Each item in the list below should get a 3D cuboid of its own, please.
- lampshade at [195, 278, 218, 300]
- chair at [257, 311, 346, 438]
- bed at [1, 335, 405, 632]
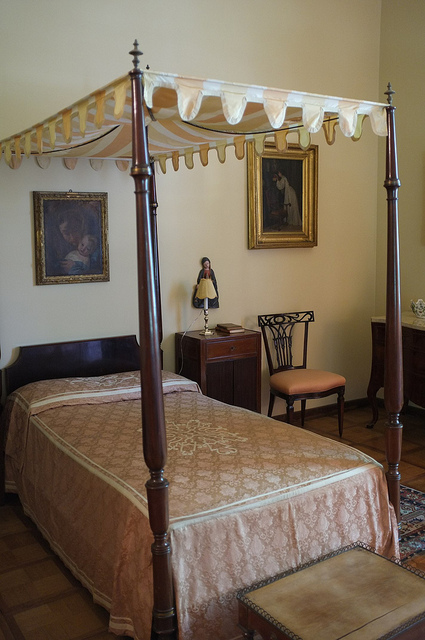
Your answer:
[{"bbox_3d":[-0.054,-0.254,4.035,0.151,0.157,0.143,-3,9,-26],"label":"lampshade"},{"bbox_3d":[0.766,0.490,4.380,0.618,1.081,0.660,-4,8,-14],"label":"chair"},{"bbox_3d":[-0.276,0.641,2.405,1.255,0.799,1.847,-6,11,-34],"label":"bed"}]
